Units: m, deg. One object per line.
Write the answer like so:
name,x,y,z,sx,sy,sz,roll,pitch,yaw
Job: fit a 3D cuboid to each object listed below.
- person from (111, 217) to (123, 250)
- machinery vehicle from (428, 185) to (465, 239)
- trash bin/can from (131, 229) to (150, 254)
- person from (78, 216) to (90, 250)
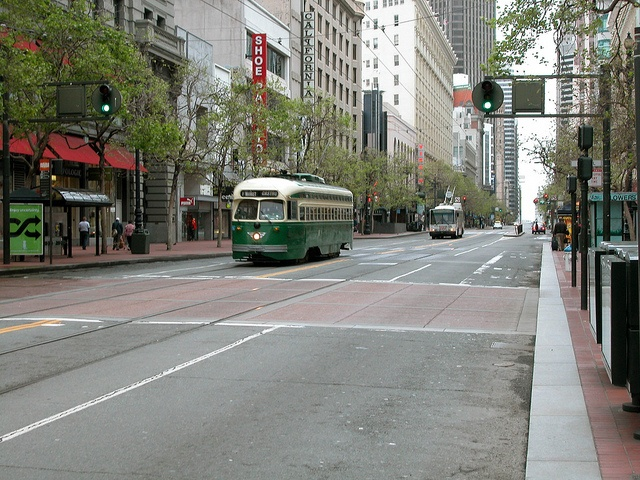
person,-10.858,-0.301,36.222,0.480,1.590,1.119,-1,3,-16
machinery vehicle,12.662,-1.834,67.612,1.961,3.476,6.616,-1,-2,17
trash bin/can,-8.339,0.056,31.332,0.789,1.128,0.811,0,3,-9
person,-12.112,-0.259,34.763,0.397,1.487,1.553,-1,3,-23
